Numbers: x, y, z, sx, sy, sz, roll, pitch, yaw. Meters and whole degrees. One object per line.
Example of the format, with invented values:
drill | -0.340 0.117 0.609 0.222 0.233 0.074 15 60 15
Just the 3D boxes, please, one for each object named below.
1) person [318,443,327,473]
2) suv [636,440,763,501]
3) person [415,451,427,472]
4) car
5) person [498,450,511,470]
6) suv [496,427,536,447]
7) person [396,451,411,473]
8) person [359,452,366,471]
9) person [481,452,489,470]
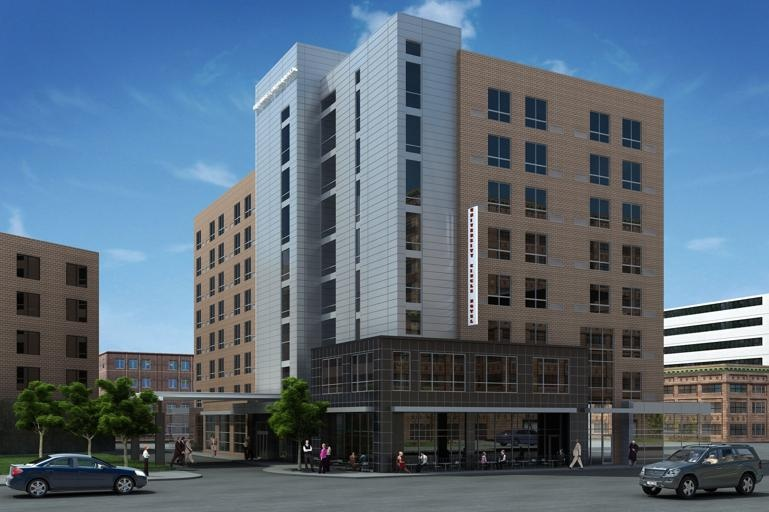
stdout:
person | -5.002 16.589 81.400 0.716 2.363 1.007 -3 -17 1
suv | 20.423 14.022 64.863 7.931 2.543 3.444 6 -14 -21
person | 3.020 16.767 80.905 0.867 1.532 0.876 -5 -17 9
car | -20.843 14.758 66.658 8.023 1.981 3.284 1 -6 -20
person | 10.064 17.064 83.514 0.952 1.566 0.228 7 -20 -29
suv | 11.269 15.576 84.894 3.387 0.922 1.488 1 -4 -18
person | 1.482 16.657 80.317 1.014 1.795 1.285 -3 -17 2
person | -1.630 17.075 81.907 0.638 1.256 0.609 -2 -17 -2
person | 8.380 17.112 82.974 0.638 1.369 0.198 0 -18 -10
